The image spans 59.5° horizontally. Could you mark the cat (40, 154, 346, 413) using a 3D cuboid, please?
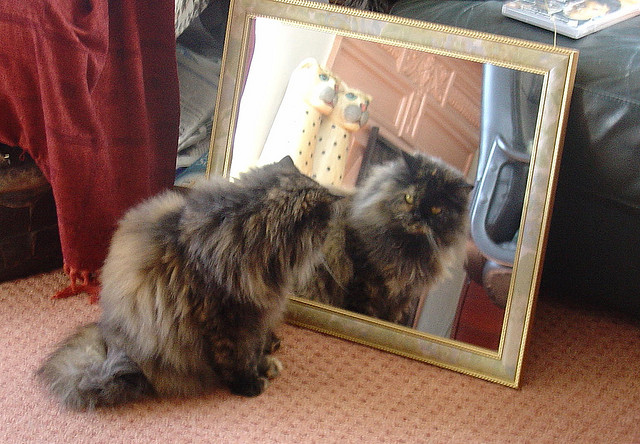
[{"bbox_3d":[-0.377,0.140,1.604,0.773,0.662,0.533,0,22,-11],"label":"cat"}]

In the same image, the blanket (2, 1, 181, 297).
[{"bbox_3d":[-0.659,-0.227,1.732,0.251,0.852,0.525,23,28,34],"label":"blanket"}]
